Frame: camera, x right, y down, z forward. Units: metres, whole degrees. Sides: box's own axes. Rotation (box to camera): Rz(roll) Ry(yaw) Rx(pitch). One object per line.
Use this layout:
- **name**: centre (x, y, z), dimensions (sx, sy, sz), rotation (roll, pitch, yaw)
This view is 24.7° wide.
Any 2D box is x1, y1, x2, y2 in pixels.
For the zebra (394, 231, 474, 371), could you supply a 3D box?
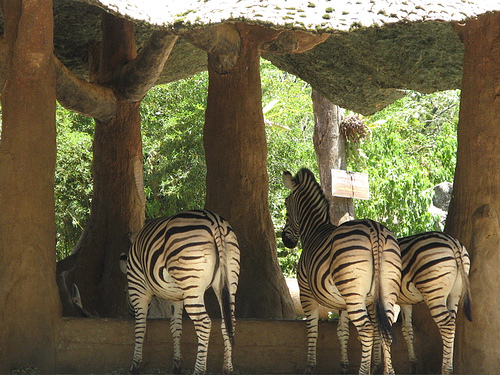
- **zebra**: centre (2.561, 1.581, 15.960), dimensions (1.077, 1.938, 0.858), rotation (0, -3, 11)

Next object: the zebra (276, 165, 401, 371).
- **zebra**: centre (1.252, 1.115, 16.210), dimensions (0.795, 2.867, 2.018), rotation (3, -4, -30)
